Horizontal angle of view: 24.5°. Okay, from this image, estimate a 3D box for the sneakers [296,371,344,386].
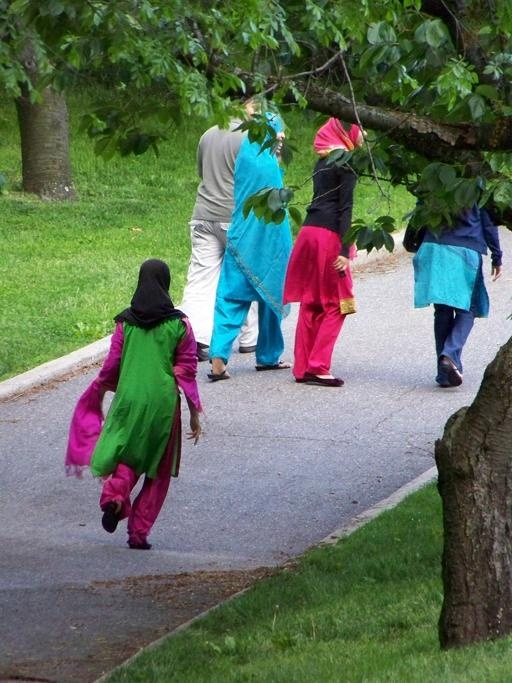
[{"bbox_3d":[0.499,0.285,8.972,0.382,0.124,0.117,1,13,16],"label":"sneakers"}]

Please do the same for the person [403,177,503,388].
[{"bbox_3d":[1.374,-0.331,8.657,0.620,1.358,0.679,6,18,30],"label":"person"}]

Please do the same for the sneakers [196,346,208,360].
[{"bbox_3d":[-0.435,0.088,9.644,0.141,0.115,0.062,0,42,-5],"label":"sneakers"}]

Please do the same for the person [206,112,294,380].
[{"bbox_3d":[-0.076,-0.655,9.007,0.709,1.962,0.649,-3,16,1],"label":"person"}]

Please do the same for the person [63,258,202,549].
[{"bbox_3d":[-0.622,0.320,6.052,0.731,1.485,0.652,-8,16,-16],"label":"person"}]

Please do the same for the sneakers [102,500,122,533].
[{"bbox_3d":[-0.716,0.865,5.834,0.084,0.159,0.074,8,-5,-13],"label":"sneakers"}]

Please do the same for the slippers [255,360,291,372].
[{"bbox_3d":[0.142,0.187,9.562,0.302,0.103,0.092,-5,11,-15],"label":"slippers"}]

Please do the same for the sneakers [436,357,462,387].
[{"bbox_3d":[1.405,0.227,8.586,0.137,0.115,0.270,6,-29,33],"label":"sneakers"}]

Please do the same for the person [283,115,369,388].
[{"bbox_3d":[0.485,-0.637,8.672,0.675,2.005,0.493,2,17,18],"label":"person"}]
